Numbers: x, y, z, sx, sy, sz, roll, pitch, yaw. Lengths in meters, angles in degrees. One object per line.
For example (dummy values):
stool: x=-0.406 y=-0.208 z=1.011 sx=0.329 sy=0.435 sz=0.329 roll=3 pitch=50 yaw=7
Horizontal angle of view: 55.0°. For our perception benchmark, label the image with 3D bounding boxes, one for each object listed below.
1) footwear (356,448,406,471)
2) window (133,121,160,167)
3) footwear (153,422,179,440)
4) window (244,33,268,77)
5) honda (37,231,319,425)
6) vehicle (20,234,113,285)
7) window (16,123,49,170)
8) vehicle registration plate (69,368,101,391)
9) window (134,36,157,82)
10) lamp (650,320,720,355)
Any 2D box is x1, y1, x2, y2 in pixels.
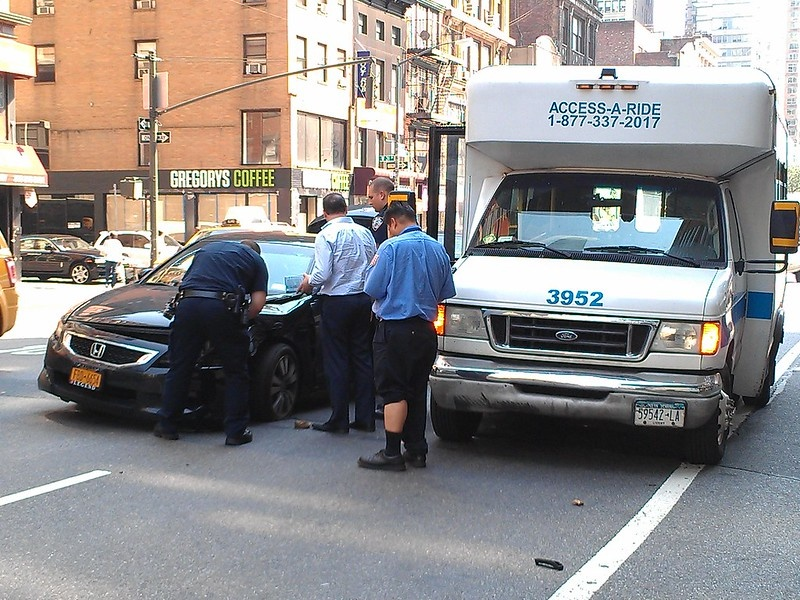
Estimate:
footwear: x=-0.147 y=1.336 z=6.441 sx=0.403 sy=0.184 sz=0.161 roll=5 pitch=-8 yaw=7
window: x=-14.144 y=-8.694 z=42.310 sx=0.241 sy=2.687 sz=0.961 roll=8 pitch=11 yaw=25
footwear: x=-2.113 y=1.177 z=6.960 sx=0.264 sy=0.135 sz=0.107 roll=16 pitch=7 yaw=27
window: x=-7.687 y=-12.893 z=40.688 sx=1.320 sy=2.111 sz=0.198 roll=3 pitch=4 yaw=19
honda: x=-1.538 y=0.180 z=9.933 sx=2.779 sy=2.060 sz=6.193 roll=2 pitch=4 yaw=28
vehicle: x=-12.008 y=-1.447 z=27.142 sx=4.048 sy=1.696 sz=2.001 roll=2 pitch=5 yaw=15
window: x=-21.594 y=-8.906 z=44.859 sx=1.994 sy=2.640 sz=1.769 roll=-5 pitch=22 yaw=-23
vehicle registration plate: x=-2.944 y=0.729 z=7.174 sx=0.417 sy=0.187 sz=0.026 roll=4 pitch=4 yaw=29
window: x=-14.057 y=-13.129 z=42.475 sx=1.372 sy=2.039 sz=1.955 roll=-1 pitch=8 yaw=-14
lamp: x=2.274 y=0.299 z=6.098 sx=0.518 sy=0.253 sz=0.078 roll=1 pitch=4 yaw=-2
